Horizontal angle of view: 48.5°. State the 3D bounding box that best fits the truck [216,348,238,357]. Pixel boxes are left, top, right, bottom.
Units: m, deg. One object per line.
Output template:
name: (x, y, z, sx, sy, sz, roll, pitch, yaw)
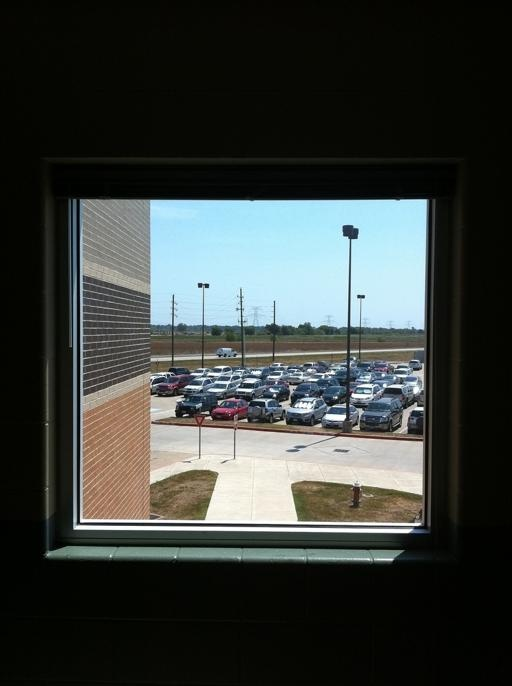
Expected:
truck: (-2.362, 0.883, 45.519, 1.545, 0.672, 1.524, 1, -2, -9)
